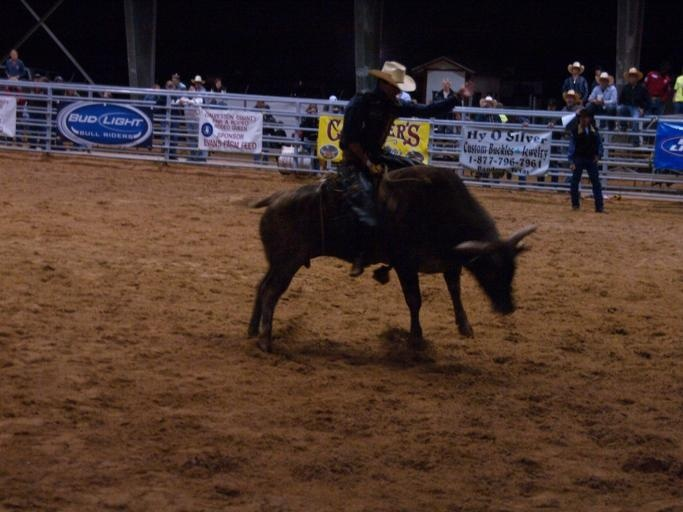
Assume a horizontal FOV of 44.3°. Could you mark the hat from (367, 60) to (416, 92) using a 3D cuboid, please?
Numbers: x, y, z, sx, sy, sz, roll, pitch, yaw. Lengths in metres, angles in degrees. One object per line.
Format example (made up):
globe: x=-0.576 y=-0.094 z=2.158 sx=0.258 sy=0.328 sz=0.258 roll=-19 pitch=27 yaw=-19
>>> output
hat: x=0.515 y=-2.044 z=9.143 sx=0.398 sy=0.162 sz=0.429 roll=18 pitch=16 yaw=-50

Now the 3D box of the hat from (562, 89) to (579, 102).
hat: x=4.826 y=-3.436 z=17.639 sx=0.393 sy=0.145 sz=0.416 roll=4 pitch=-15 yaw=20

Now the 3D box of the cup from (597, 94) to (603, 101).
cup: x=5.502 y=-3.396 z=17.879 sx=0.116 sy=0.104 sz=0.114 roll=1 pitch=0 yaw=0

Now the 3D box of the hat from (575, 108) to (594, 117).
hat: x=4.451 y=-2.651 z=15.370 sx=0.255 sy=0.237 sz=0.196 roll=14 pitch=18 yaw=29

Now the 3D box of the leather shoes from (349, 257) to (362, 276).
leather shoes: x=0.172 y=0.115 z=9.221 sx=0.149 sy=0.192 sz=0.078 roll=2 pitch=-14 yaw=35
